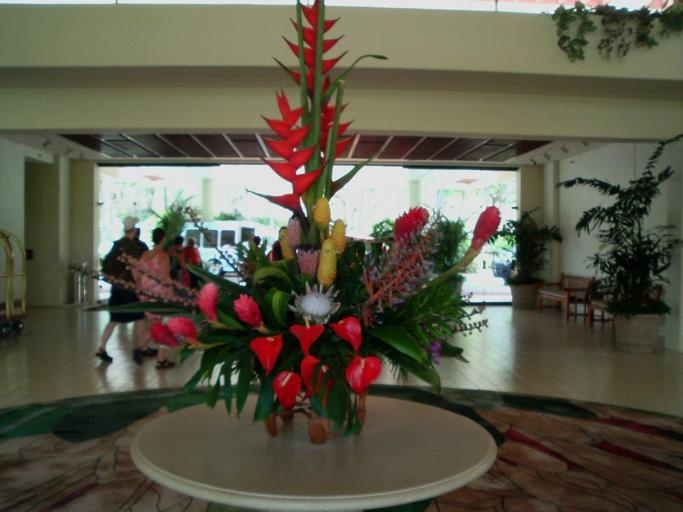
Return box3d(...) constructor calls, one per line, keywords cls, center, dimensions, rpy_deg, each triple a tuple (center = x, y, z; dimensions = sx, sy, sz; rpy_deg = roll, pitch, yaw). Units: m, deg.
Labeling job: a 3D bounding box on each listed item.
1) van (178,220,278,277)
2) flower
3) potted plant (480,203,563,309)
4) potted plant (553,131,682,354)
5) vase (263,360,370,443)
box3d(cls="van", center=(-2.008, -0.109, 7.988), dimensions=(0.871, 1.100, 2.251), rpy_deg=(7, -2, 14))
box3d(cls="flower", center=(-0.098, -0.135, 1.651), dimensions=(1.161, 1.529, 0.573), rpy_deg=(1, 1, -4))
box3d(cls="potted plant", center=(3.928, 0.129, 10.266), dimensions=(1.391, 2.116, 1.455), rpy_deg=(6, 7, 38))
box3d(cls="potted plant", center=(4.117, -0.172, 6.859), dimensions=(1.125, 2.323, 2.259), rpy_deg=(1, 1, 27))
box3d(cls="vase", center=(-0.078, 0.497, 1.651), dimensions=(0.374, 0.295, 0.361), rpy_deg=(-10, -23, 43))
